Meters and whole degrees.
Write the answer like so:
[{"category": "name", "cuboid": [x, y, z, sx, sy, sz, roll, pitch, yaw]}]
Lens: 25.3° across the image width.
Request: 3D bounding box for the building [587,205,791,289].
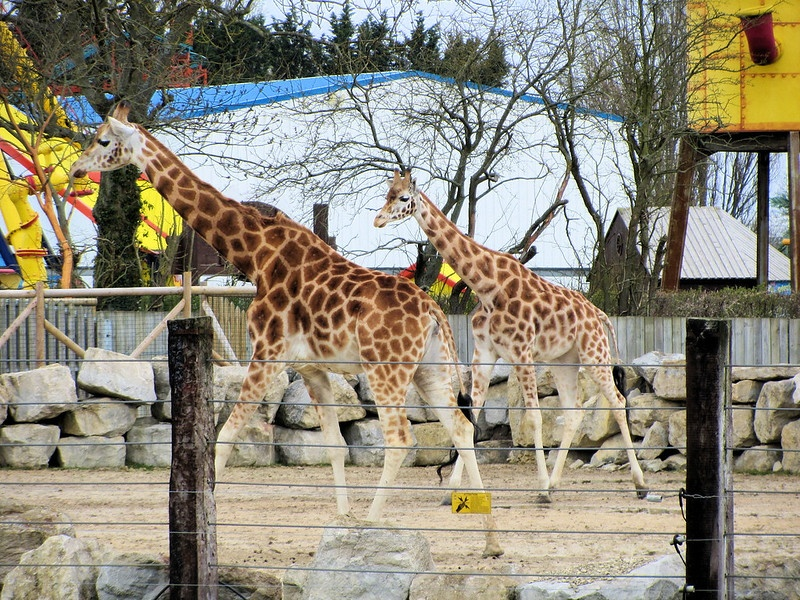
[{"category": "building", "cuboid": [6.427, -1.219, 40.313, 3.548, 1.794, 3.369, -4, 2, -34]}]
